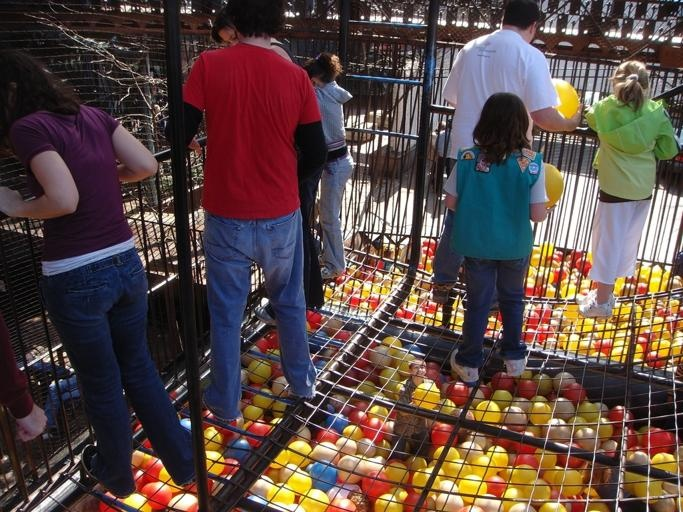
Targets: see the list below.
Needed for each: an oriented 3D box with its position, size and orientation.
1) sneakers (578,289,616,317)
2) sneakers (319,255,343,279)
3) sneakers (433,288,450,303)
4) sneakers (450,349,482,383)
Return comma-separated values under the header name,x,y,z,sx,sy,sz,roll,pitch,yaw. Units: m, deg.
name,x,y,z,sx,sy,sz,roll,pitch,yaw
sneakers,1.847,0.376,3.584,0.297,0.134,0.179,5,42,48
sneakers,-0.089,0.106,3.954,0.187,0.147,0.195,9,0,25
sneakers,0.745,0.294,3.607,0.094,0.111,0.121,8,32,15
sneakers,0.832,0.739,3.245,0.197,0.237,0.198,9,24,18
